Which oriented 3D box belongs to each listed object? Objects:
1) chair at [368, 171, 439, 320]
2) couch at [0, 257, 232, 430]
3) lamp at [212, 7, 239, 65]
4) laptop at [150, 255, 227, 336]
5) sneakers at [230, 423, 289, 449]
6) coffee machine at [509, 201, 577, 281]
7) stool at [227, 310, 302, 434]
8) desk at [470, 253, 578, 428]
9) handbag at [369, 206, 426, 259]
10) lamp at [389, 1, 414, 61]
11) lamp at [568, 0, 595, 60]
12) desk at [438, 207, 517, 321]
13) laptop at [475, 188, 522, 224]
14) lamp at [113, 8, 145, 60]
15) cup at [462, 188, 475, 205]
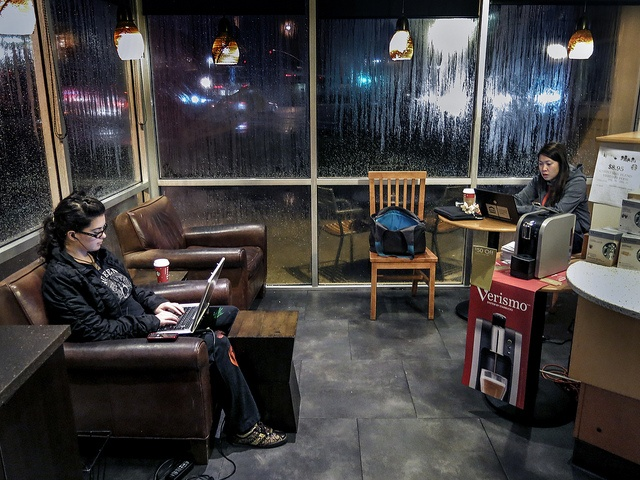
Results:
[{"bbox_3d":[0.800,0.015,4.592,0.613,1.373,0.760,-1,13,5],"label":"chair"},{"bbox_3d":[-1.201,0.524,2.901,0.971,0.927,0.994,-1,16,-6],"label":"couch"},{"bbox_3d":[-0.891,-1.851,4.201,0.221,0.391,0.181,-4,18,-7],"label":"lamp"},{"bbox_3d":[-0.844,0.383,2.902,0.387,0.288,0.451,-3,22,12],"label":"laptop"},{"bbox_3d":[-0.388,1.250,2.969,0.379,0.178,0.153,0,11,-3],"label":"sneakers"},{"bbox_3d":[1.459,0.023,2.973,0.399,0.422,0.207,-11,19,-25],"label":"coffee machine"},{"bbox_3d":[-0.346,1.008,2.942,0.428,0.463,0.549,-19,51,7],"label":"stool"},{"bbox_3d":[1.370,0.721,3.115,0.601,0.925,0.559,-3,8,-38],"label":"desk"},{"bbox_3d":[0.751,-0.057,4.411,0.548,0.389,0.595,4,23,11],"label":"handbag"},{"bbox_3d":[0.730,-1.811,4.015,0.165,0.376,0.212,11,22,37],"label":"lamp"},{"bbox_3d":[2.356,-1.838,4.060,0.186,0.377,0.254,7,20,27],"label":"lamp"},{"bbox_3d":[1.366,0.215,4.604,0.899,1.046,0.936,2,16,6],"label":"desk"},{"bbox_3d":[1.613,-0.309,4.094,0.290,0.309,0.414,-29,26,-25],"label":"laptop"},{"bbox_3d":[-1.495,-1.608,3.495,0.196,0.385,0.184,-9,19,-22],"label":"lamp"},{"bbox_3d":[1.421,-0.412,4.335,0.131,0.150,0.134,1,9,0],"label":"cup"}]
